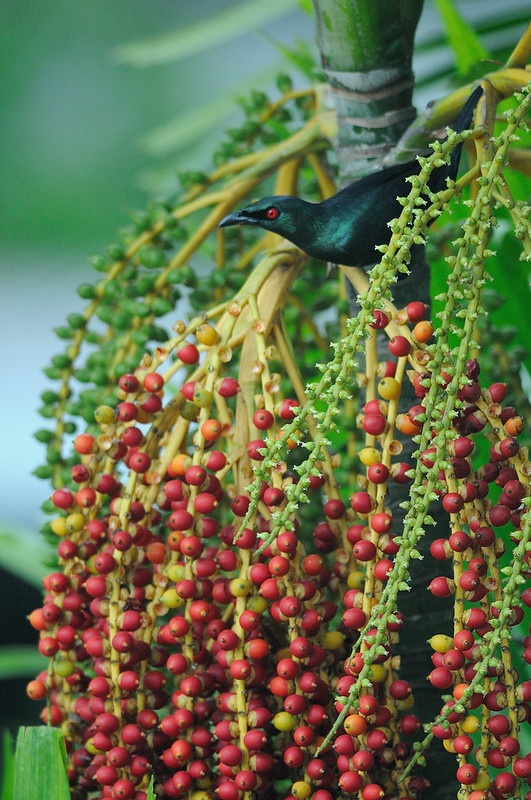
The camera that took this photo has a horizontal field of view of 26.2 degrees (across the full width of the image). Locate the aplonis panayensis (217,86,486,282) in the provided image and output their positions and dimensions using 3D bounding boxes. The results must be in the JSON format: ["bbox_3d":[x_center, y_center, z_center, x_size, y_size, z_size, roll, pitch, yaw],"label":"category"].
[{"bbox_3d":[0.065,-0.130,0.765,0.189,0.057,0.102,-37,-47,-17],"label":"aplonis panayensis"}]
